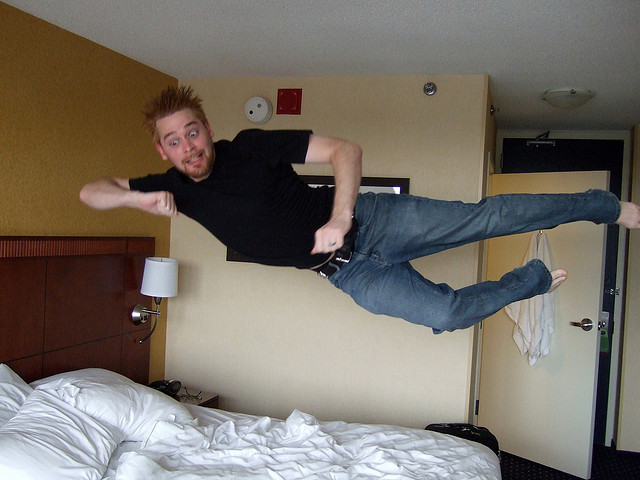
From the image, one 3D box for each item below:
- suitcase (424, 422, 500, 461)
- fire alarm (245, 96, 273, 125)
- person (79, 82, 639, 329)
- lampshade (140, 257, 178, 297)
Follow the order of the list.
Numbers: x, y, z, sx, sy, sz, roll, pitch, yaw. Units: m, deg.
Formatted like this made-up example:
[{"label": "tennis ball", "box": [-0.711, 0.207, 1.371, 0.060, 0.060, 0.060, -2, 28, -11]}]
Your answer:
[{"label": "suitcase", "box": [1.052, 1.412, 3.862, 0.455, 0.137, 0.327, 3, -2, 21]}, {"label": "fire alarm", "box": [-0.514, -1.080, 4.395, 0.229, 0.217, 0.086, 5, 7, 13]}, {"label": "person", "box": [0.245, -0.120, 2.995, 2.490, 1.140, 1.514, -4, 7, -25]}, {"label": "lampshade", "box": [-1.182, 0.324, 4.211, 0.287, 0.308, 0.287, -5, -6, 29]}]
